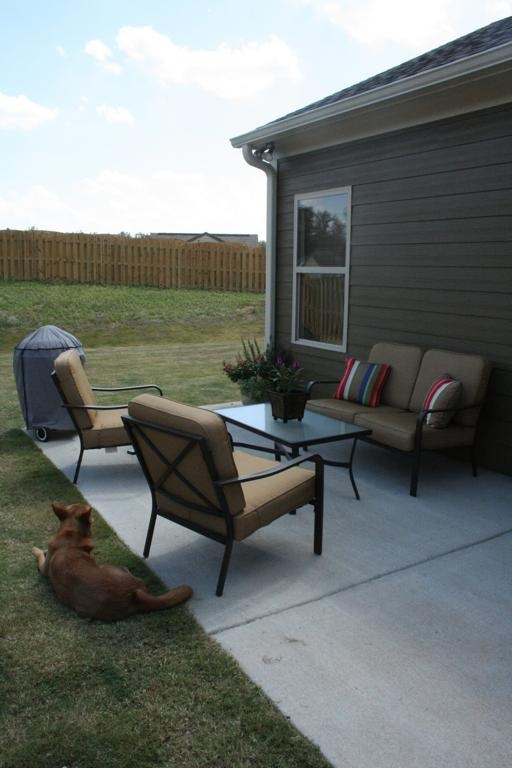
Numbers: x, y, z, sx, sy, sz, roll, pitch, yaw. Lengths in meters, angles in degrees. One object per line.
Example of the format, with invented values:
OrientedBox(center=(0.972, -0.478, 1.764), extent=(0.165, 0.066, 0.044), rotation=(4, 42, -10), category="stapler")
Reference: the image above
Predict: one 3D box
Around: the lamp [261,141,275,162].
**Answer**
OrientedBox(center=(0.136, -2.770, 6.435), extent=(0.114, 0.234, 0.312), rotation=(2, 6, -3), category="lamp")

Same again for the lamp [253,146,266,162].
OrientedBox(center=(0.046, -2.750, 6.485), extent=(0.102, 0.142, 0.126), rotation=(-4, 32, 5), category="lamp")

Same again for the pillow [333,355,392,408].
OrientedBox(center=(0.988, -0.010, 5.022), extent=(0.468, 0.437, 0.138), rotation=(22, -4, 37), category="pillow")

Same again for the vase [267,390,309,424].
OrientedBox(center=(0.223, 0.150, 3.936), extent=(0.231, 0.196, 0.253), rotation=(3, 4, 12), category="vase")

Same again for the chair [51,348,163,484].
OrientedBox(center=(-1.121, 0.205, 4.208), extent=(0.794, 0.805, 0.629), rotation=(2, 12, -14), category="chair")

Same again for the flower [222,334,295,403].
OrientedBox(center=(0.081, -0.171, 6.254), extent=(0.916, 0.823, 0.823), rotation=(-5, 15, -25), category="flower")

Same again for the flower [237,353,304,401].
OrientedBox(center=(0.150, -0.093, 6.036), extent=(0.596, 0.613, 0.667), rotation=(-7, 15, -25), category="flower")

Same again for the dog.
OrientedBox(center=(-0.733, 0.816, 2.571), extent=(0.539, 0.298, 0.867), rotation=(-6, 18, -45), category="dog")

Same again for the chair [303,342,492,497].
OrientedBox(center=(1.204, 0.212, 4.696), extent=(0.996, 1.037, 1.516), rotation=(-3, 10, -22), category="chair")

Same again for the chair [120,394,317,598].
OrientedBox(center=(-0.166, 0.481, 2.801), extent=(0.951, 0.876, 0.795), rotation=(-6, 13, -33), category="chair")

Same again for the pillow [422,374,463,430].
OrientedBox(center=(1.435, 0.127, 4.238), extent=(0.212, 0.331, 0.397), rotation=(-3, 13, 1), category="pillow")

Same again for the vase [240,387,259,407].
OrientedBox(center=(-0.096, 0.131, 6.348), extent=(0.207, 0.228, 0.209), rotation=(-5, 15, -21), category="vase")
